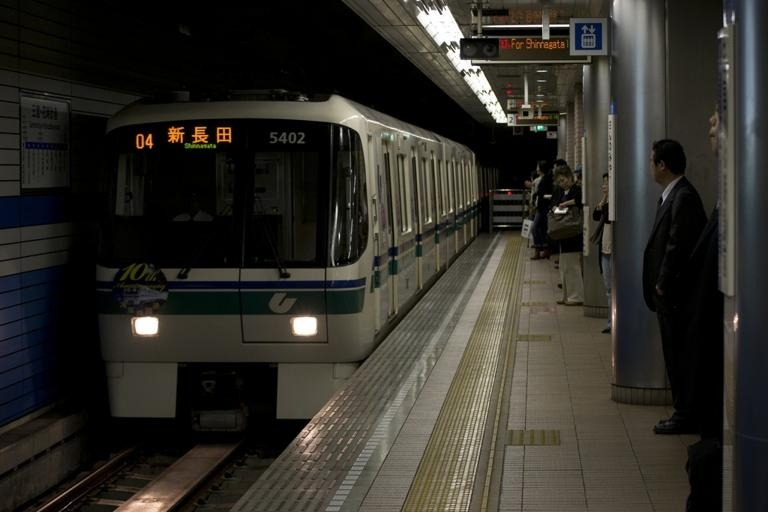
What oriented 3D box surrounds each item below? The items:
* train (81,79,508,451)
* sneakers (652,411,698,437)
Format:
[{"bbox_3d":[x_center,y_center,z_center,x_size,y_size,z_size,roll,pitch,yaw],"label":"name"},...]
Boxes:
[{"bbox_3d":[-1.005,0.044,8.144,2.381,4.083,4.430,5,9,40],"label":"train"},{"bbox_3d":[2.651,1.522,5.717,0.433,0.180,0.162,0,1,6],"label":"sneakers"}]
